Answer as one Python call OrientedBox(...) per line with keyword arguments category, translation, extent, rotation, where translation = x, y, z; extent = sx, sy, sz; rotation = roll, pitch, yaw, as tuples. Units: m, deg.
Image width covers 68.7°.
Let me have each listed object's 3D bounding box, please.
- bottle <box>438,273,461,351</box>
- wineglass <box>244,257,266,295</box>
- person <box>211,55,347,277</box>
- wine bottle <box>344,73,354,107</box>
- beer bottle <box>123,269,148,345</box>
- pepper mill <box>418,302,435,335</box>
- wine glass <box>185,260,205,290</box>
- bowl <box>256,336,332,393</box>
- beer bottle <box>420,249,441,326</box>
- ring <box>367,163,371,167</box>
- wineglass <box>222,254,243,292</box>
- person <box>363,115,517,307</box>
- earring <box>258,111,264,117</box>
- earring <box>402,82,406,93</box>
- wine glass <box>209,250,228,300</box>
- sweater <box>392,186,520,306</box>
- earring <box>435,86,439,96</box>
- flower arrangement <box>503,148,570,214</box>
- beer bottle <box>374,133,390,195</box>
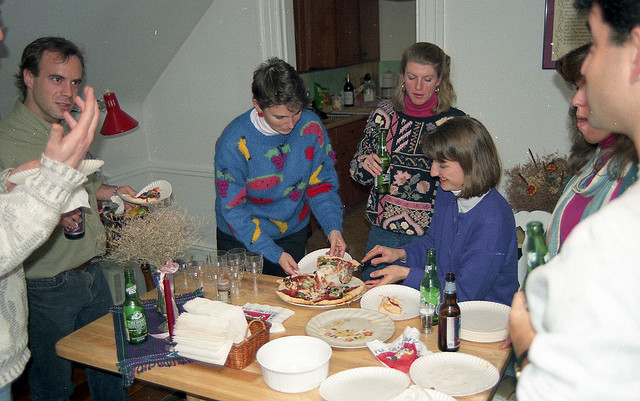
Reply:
OrientedBox(category="bottle", translation=(0.574, 0.485, 2.080), extent=(0.099, 0.359, 0.111), rotation=(0, 9, 16))
OrientedBox(category="wineglass", translation=(-0.358, 0.399, 2.574), extent=(0.098, 0.220, 0.138), rotation=(-3, 8, -7))
OrientedBox(category="person", translation=(-0.218, -0.199, 2.812), extent=(0.784, 1.240, 0.486), rotation=(-4, 9, -16))
OrientedBox(category="wine bottle", translation=(0.397, -1.396, 6.178), extent=(0.165, 0.330, 0.093), rotation=(-7, 10, -32))
OrientedBox(category="beer bottle", translation=(-0.914, 0.501, 2.263), extent=(0.164, 0.362, 0.083), rotation=(3, 10, 29))
OrientedBox(category="pepper mill", translation=(0.500, 0.554, 2.197), extent=(0.083, 0.120, 0.084), rotation=(-6, 16, -15))
OrientedBox(category="wine glass", translation=(-0.665, 0.422, 2.604), extent=(0.114, 0.185, 0.122), rotation=(-3, -9, 12))
OrientedBox(category="bowl", translation=(-0.107, 0.695, 1.984), extent=(0.306, 0.177, 0.192), rotation=(-4, 8, -12))
OrientedBox(category="beer bottle", translation=(0.526, 0.423, 2.255), extent=(0.098, 0.377, 0.096), rotation=(1, 4, 0))
OrientedBox(category="ring", translation=(0.311, -0.227, 2.960), extent=(0.005, 0.016, 0.029), rotation=(-9, 11, -40))
OrientedBox(category="wineglass", translation=(-0.476, 0.389, 2.555), extent=(0.096, 0.225, 0.137), rotation=(-4, 8, -12))
OrientedBox(category="person", translation=(0.698, 0.134, 2.681), extent=(0.784, 1.092, 0.747), rotation=(-19, 23, -30))
OrientedBox(category="earring", translation=(-0.347, -0.506, 2.753), extent=(0.019, 0.032, 0.032), rotation=(-9, 11, -39))
OrientedBox(category="earring", translation=(0.528, -0.710, 2.959), extent=(0.012, 0.057, 0.018), rotation=(-2, 8, -2))
OrientedBox(category="wine glass", translation=(-0.558, 0.428, 2.570), extent=(0.118, 0.285, 0.114), rotation=(-6, -10, 21))
OrientedBox(category="sweater", translation=(0.790, 0.248, 2.727), extent=(0.694, 0.780, 0.600), rotation=(-9, 33, -13))
OrientedBox(category="earring", translation=(0.719, -0.676, 2.886), extent=(0.016, 0.054, 0.015), rotation=(-1, 17, 21))
OrientedBox(category="flower arrangement", translation=(1.588, -0.139, 3.480), extent=(0.439, 0.481, 0.487), rotation=(1, 9, 22))
OrientedBox(category="beer bottle", translation=(0.395, -0.230, 2.981), extent=(0.095, 0.392, 0.138), rotation=(-1, 8, 7))
